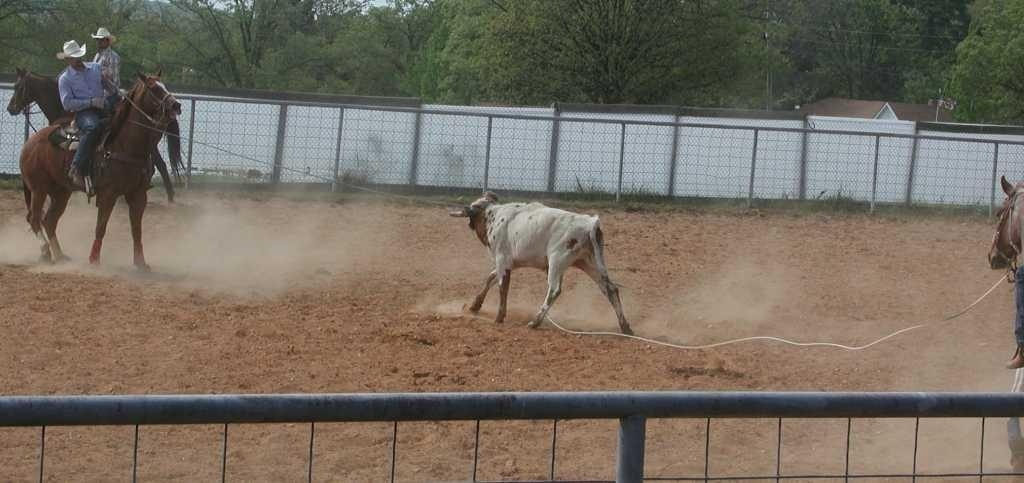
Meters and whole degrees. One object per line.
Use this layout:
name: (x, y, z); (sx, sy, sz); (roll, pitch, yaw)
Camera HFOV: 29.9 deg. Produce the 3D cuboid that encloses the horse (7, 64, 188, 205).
horse: (-25.043, -7.748, 121.914); (13.452, 8.084, 7.118); (1, 0, 2)
